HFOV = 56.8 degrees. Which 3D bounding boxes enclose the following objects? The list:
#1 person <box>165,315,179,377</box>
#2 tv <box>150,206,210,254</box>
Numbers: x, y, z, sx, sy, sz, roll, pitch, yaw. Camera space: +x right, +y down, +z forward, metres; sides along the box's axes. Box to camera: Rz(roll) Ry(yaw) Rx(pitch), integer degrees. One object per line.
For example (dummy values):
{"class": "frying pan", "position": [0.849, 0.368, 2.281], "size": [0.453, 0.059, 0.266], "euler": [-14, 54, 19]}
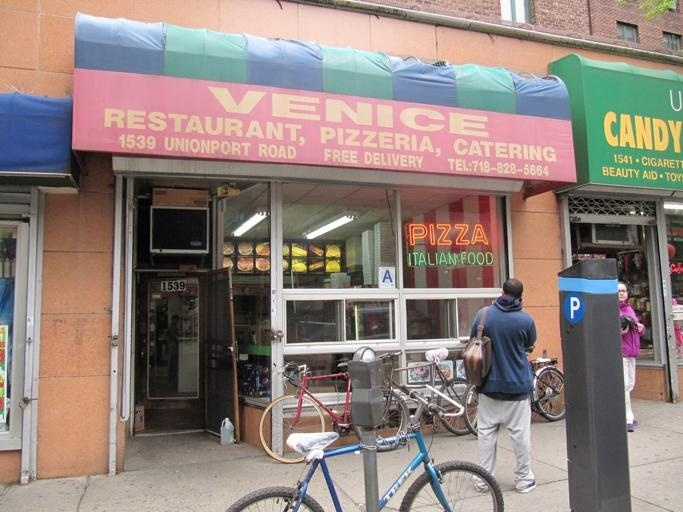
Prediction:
{"class": "person", "position": [-3.197, 1.724, 12.049], "size": [0.217, 1.190, 0.183], "euler": [-1, -5, -16]}
{"class": "tv", "position": [-2.604, -0.432, 10.020], "size": [0.723, 0.652, 0.265], "euler": [1, -1, -16]}
